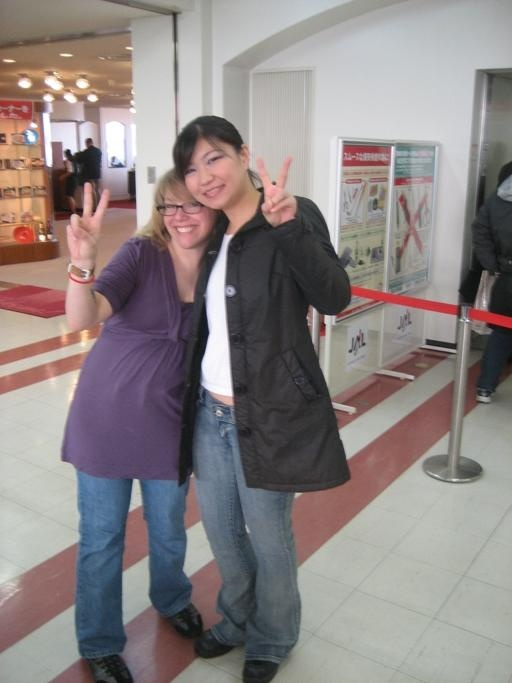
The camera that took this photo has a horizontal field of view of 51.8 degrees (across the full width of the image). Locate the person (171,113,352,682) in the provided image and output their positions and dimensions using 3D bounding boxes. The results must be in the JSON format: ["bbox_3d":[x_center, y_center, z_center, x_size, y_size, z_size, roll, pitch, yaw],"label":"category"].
[{"bbox_3d":[0.015,0.271,1.231,0.388,1.499,0.590,-1,11,-9],"label":"person"}]

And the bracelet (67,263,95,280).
[{"bbox_3d":[-0.353,-0.138,1.053,0.052,0.029,0.051,10,7,9],"label":"bracelet"}]
